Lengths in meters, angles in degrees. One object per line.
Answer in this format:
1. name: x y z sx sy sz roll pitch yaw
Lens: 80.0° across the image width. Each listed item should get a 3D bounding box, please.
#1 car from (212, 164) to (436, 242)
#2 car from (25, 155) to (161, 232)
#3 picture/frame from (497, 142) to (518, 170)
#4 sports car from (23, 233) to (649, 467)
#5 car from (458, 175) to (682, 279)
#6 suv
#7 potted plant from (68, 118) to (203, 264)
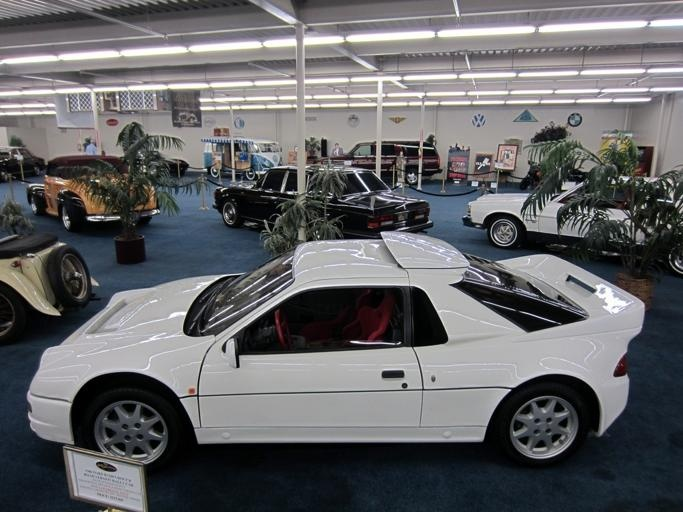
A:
1. car: -1.053 -1.423 10.444 6.046 1.744 2.609 12 18 41
2. car: -6.829 -1.674 11.235 2.704 2.048 6.278 -10 20 -40
3. picture/frame: 9.284 -5.528 22.721 1.037 1.475 1.047 8 17 30
4. sports car: 0.062 0.773 3.443 4.612 1.697 0.976 0 14 -1
5. car: 4.564 -0.738 8.803 4.005 1.242 1.834 10 18 27
6. suv: 2.904 -5.423 22.839 7.721 2.406 2.575 4 15 4
7. potted plant: -4.427 -1.250 8.278 2.874 2.783 1.918 -4 7 -28
